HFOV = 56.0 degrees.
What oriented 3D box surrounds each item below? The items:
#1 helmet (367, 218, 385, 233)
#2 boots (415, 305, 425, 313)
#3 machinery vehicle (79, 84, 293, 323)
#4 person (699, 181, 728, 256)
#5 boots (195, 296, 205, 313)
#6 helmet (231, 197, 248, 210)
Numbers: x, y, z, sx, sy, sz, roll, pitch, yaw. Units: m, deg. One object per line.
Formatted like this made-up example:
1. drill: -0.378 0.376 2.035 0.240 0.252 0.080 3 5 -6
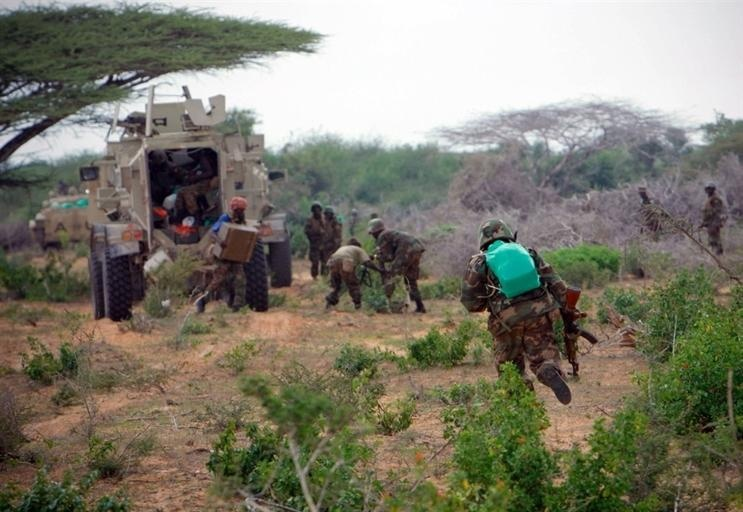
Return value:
1. helmet: 0.074 -0.612 14.438 0.252 0.213 0.349 -21 5 45
2. boots: 1.003 1.120 14.678 0.187 0.203 0.121 1 2 23
3. machinery vehicle: -4.263 -1.336 16.424 3.777 4.214 7.085 -1 5 -10
4. person: 7.875 -0.860 16.136 0.478 1.636 3.448 -1 2 26
5. boots: -3.332 0.953 13.521 0.143 0.206 0.622 16 0 -6
6. helmet: -2.473 -1.012 13.042 0.226 0.267 0.300 9 28 -5
